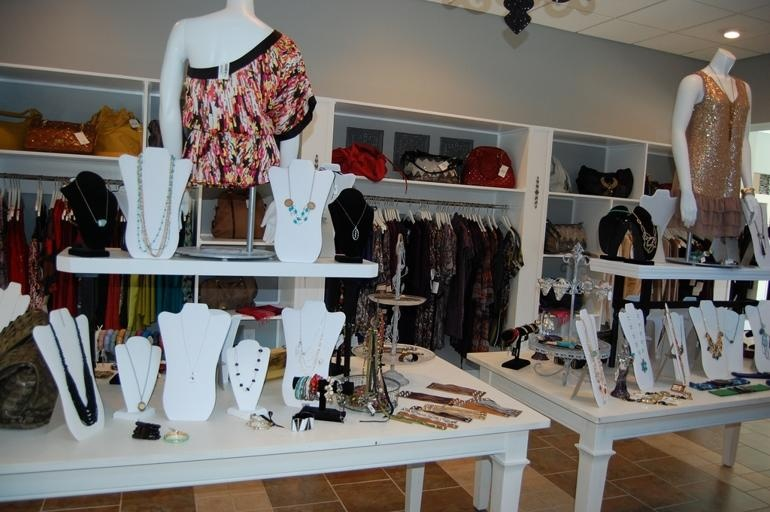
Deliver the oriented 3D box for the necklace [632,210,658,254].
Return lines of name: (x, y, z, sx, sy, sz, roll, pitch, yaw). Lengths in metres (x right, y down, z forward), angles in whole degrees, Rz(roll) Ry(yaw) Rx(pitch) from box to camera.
necklace: (1.527, -0.128, 3.244, 0.059, 0.200, 0.260, -16, 13, 7)

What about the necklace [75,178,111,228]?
necklace: (-1.222, -0.236, 2.309, 0.126, 0.211, 0.052, -24, 11, -40)

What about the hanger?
hanger: (0.489, -0.333, 5.188, 1.732, 0.630, 0.526, 1, -1, -13)

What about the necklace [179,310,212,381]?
necklace: (-0.816, 0.365, 2.369, 0.116, 0.308, 0.092, -1, 12, -21)

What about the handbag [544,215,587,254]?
handbag: (1.798, -0.182, 5.536, 0.463, 0.334, 0.226, 0, 3, -14)

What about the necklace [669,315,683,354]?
necklace: (1.674, 0.436, 3.177, 0.064, 0.251, 0.036, -2, 0, -8)

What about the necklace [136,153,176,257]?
necklace: (-0.956, -0.210, 2.299, 0.145, 0.423, 0.065, -1, 12, -23)

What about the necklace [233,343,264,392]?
necklace: (-0.600, 0.488, 2.413, 0.152, 0.250, 0.029, -3, 24, -28)

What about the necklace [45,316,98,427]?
necklace: (-1.264, 0.442, 2.239, 0.153, 0.446, 0.229, -4, 14, -32)

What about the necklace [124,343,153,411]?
necklace: (-1.040, 0.503, 2.358, 0.134, 0.306, 0.098, 0, 12, -16)

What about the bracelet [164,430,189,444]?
bracelet: (-0.845, 0.721, 2.214, 0.104, 0.028, 0.056, 4, 12, -1)

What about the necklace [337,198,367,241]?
necklace: (-0.161, -0.162, 2.548, 0.131, 0.174, 0.052, 3, 11, -3)

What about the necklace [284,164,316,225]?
necklace: (-0.371, -0.278, 2.411, 0.124, 0.273, 0.043, 3, 11, -5)

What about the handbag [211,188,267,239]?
handbag: (-1.177, -0.337, 4.428, 0.436, 0.426, 0.245, -2, 15, -41)

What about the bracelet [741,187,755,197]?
bracelet: (2.245, -0.398, 3.407, 0.060, 0.038, 0.072, 0, -1, 3)

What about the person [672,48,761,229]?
person: (2.002, -0.671, 3.314, 0.656, 1.115, 0.308, -3, 13, -30)

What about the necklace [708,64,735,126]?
necklace: (2.032, -0.979, 3.324, 0.102, 0.344, 0.018, -11, -34, 16)

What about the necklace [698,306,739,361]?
necklace: (2.009, 0.468, 3.336, 0.313, 0.333, 0.043, 4, -7, -23)

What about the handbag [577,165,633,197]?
handbag: (2.237, -0.721, 5.630, 0.549, 0.351, 0.274, 2, -12, 21)
